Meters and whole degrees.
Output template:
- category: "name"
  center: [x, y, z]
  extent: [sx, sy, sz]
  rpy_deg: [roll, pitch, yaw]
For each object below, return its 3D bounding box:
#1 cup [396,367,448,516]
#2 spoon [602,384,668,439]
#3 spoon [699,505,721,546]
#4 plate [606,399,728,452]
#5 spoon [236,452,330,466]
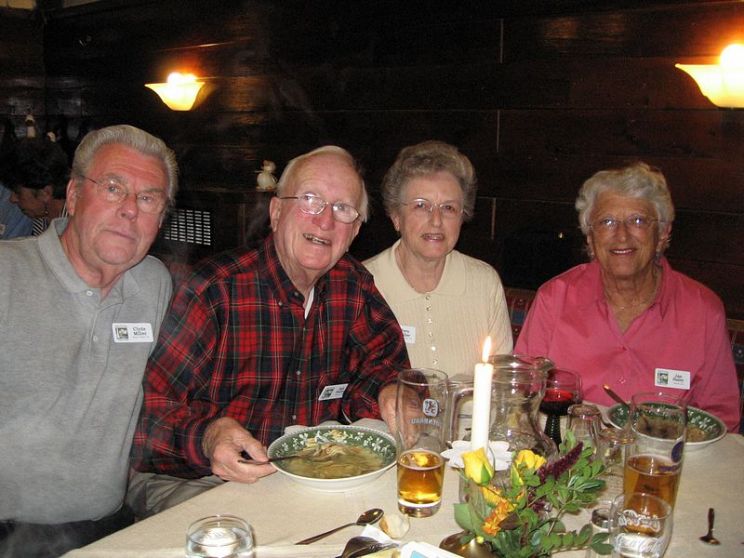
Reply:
- category: "cup"
  center: [0.145, 0.453, 1.695]
  extent: [0.148, 0.395, 0.234]
  rpy_deg: [0, -4, 6]
- category: "spoon"
  center: [0.911, 0.463, 2.141]
  extent: [0.037, 0.229, 0.143]
  rpy_deg: [-9, -41, -55]
- category: "spoon"
  center: [0.918, 0.663, 1.641]
  extent: [0.047, 0.085, 0.097]
  rpy_deg: [-3, -5, 33]
- category: "plate"
  center: [0.901, 0.456, 1.865]
  extent: [0.307, 0.042, 0.290]
  rpy_deg: [-3, 4, -36]
- category: "spoon"
  center: [-0.260, 0.534, 1.795]
  extent: [0.219, 0.021, 0.038]
  rpy_deg: [-1, 6, -22]
